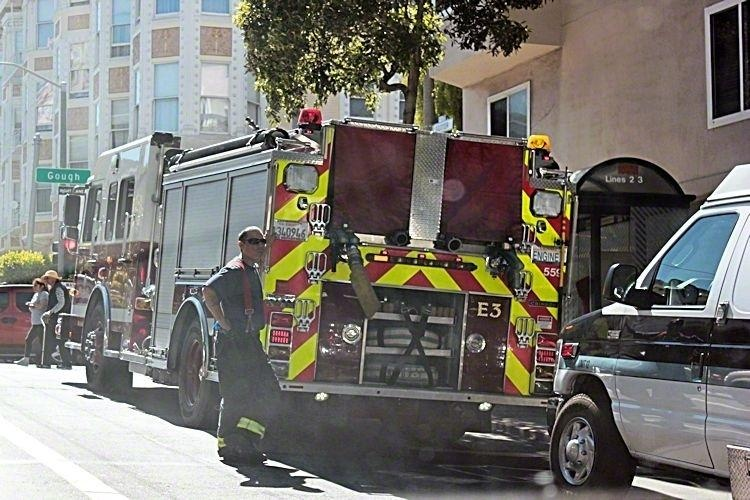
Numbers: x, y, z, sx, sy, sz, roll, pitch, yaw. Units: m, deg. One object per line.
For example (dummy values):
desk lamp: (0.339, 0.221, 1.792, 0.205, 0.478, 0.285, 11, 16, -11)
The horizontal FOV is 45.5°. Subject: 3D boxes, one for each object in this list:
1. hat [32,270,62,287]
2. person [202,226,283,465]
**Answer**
hat: (-7.488, 0.661, 20.546, 0.711, 0.209, 0.701, -23, 1, -13)
person: (-1.531, 1.096, 10.425, 0.877, 2.737, 0.303, 2, -6, -9)
